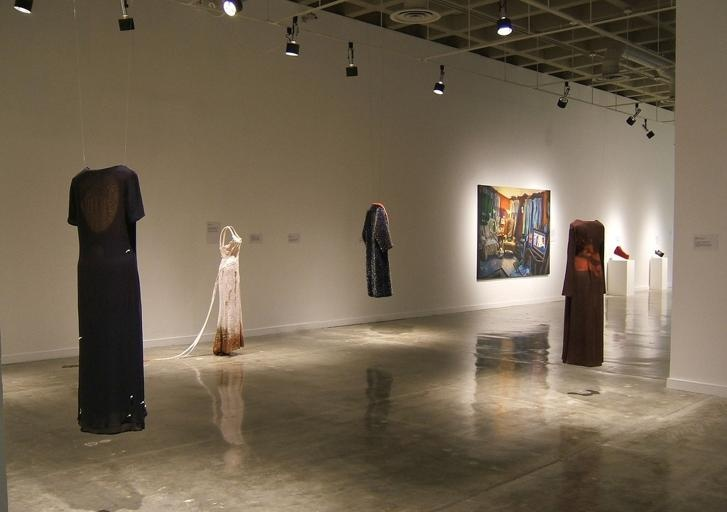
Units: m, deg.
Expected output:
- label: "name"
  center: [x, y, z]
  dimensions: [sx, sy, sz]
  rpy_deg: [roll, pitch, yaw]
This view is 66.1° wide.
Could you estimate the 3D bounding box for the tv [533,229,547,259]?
- label: "tv"
  center: [4.335, -0.306, 13.956]
  dimensions: [0.327, 0.725, 0.646]
  rpy_deg: [-4, 1, 21]
